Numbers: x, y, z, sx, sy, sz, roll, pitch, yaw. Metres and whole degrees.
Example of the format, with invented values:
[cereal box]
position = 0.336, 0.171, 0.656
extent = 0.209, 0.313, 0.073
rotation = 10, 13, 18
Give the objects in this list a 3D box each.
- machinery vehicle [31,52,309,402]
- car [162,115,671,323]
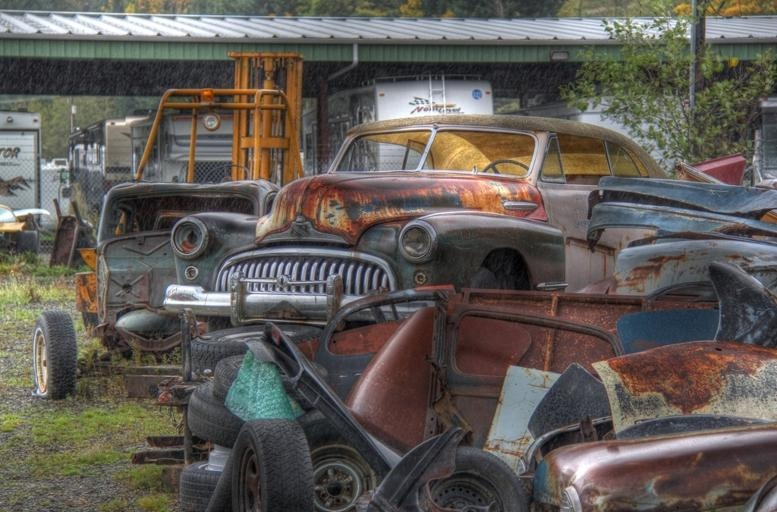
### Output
[machinery vehicle]
position = -3.131, -0.102, 21.115
extent = 4.286, 5.873, 8.648
rotation = 3, -2, -23
[car]
position = 0.673, -0.504, 16.955
extent = 5.149, 1.929, 2.933
rotation = 1, -3, -40
